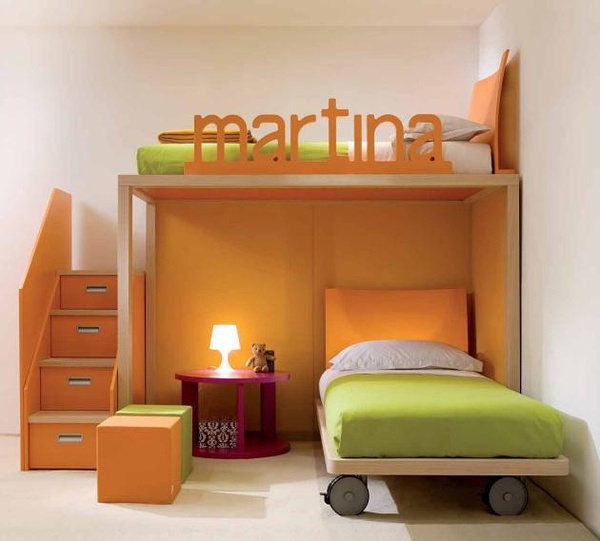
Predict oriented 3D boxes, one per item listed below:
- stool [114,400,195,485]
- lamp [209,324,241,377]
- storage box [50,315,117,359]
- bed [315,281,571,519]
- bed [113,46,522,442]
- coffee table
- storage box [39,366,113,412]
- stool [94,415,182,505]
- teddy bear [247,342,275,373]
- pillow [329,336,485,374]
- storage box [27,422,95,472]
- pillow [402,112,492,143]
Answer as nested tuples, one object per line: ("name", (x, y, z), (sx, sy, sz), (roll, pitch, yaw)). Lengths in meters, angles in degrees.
("stool", (-0.876, 1.008, 3.773), (0.388, 0.419, 0.405), (-1, -2, 1))
("lamp", (-0.578, 0.587, 4.485), (0.162, 0.177, 0.256), (6, -39, -5))
("storage box", (-1.614, 0.472, 4.609), (0.473, 0.324, 0.485), (4, -6, -29))
("bed", (0.722, 0.708, 3.887), (1.204, 1.109, 1.640), (0, 1, 0))
("bed", (0.079, -0.083, 4.353), (2.558, 2.785, 1.441), (0, -5, 2))
("coffee table", (-0.502, 1.029, 4.543), (0.762, 0.569, 0.846), (-4, -10, 14))
("storage box", (-1.542, 0.736, 4.466), (0.533, 0.346, 0.567), (1, 10, -15))
("stool", (-0.894, 1.061, 3.536), (0.394, 0.441, 0.422), (0, -2, 3))
("teddy bear", (-0.284, 0.630, 4.518), (0.210, 0.216, 0.365), (0, 1, -3))
("pillow", (0.736, 0.592, 4.251), (1.022, 0.210, 0.320), (0, 1, 0))
("storage box", (-1.532, 1.141, 4.011), (0.312, 0.215, 0.323), (0, -5, -1))
("pillow", (0.957, -0.929, 4.057), (0.561, 0.188, 0.194), (-1, 2, -19))
